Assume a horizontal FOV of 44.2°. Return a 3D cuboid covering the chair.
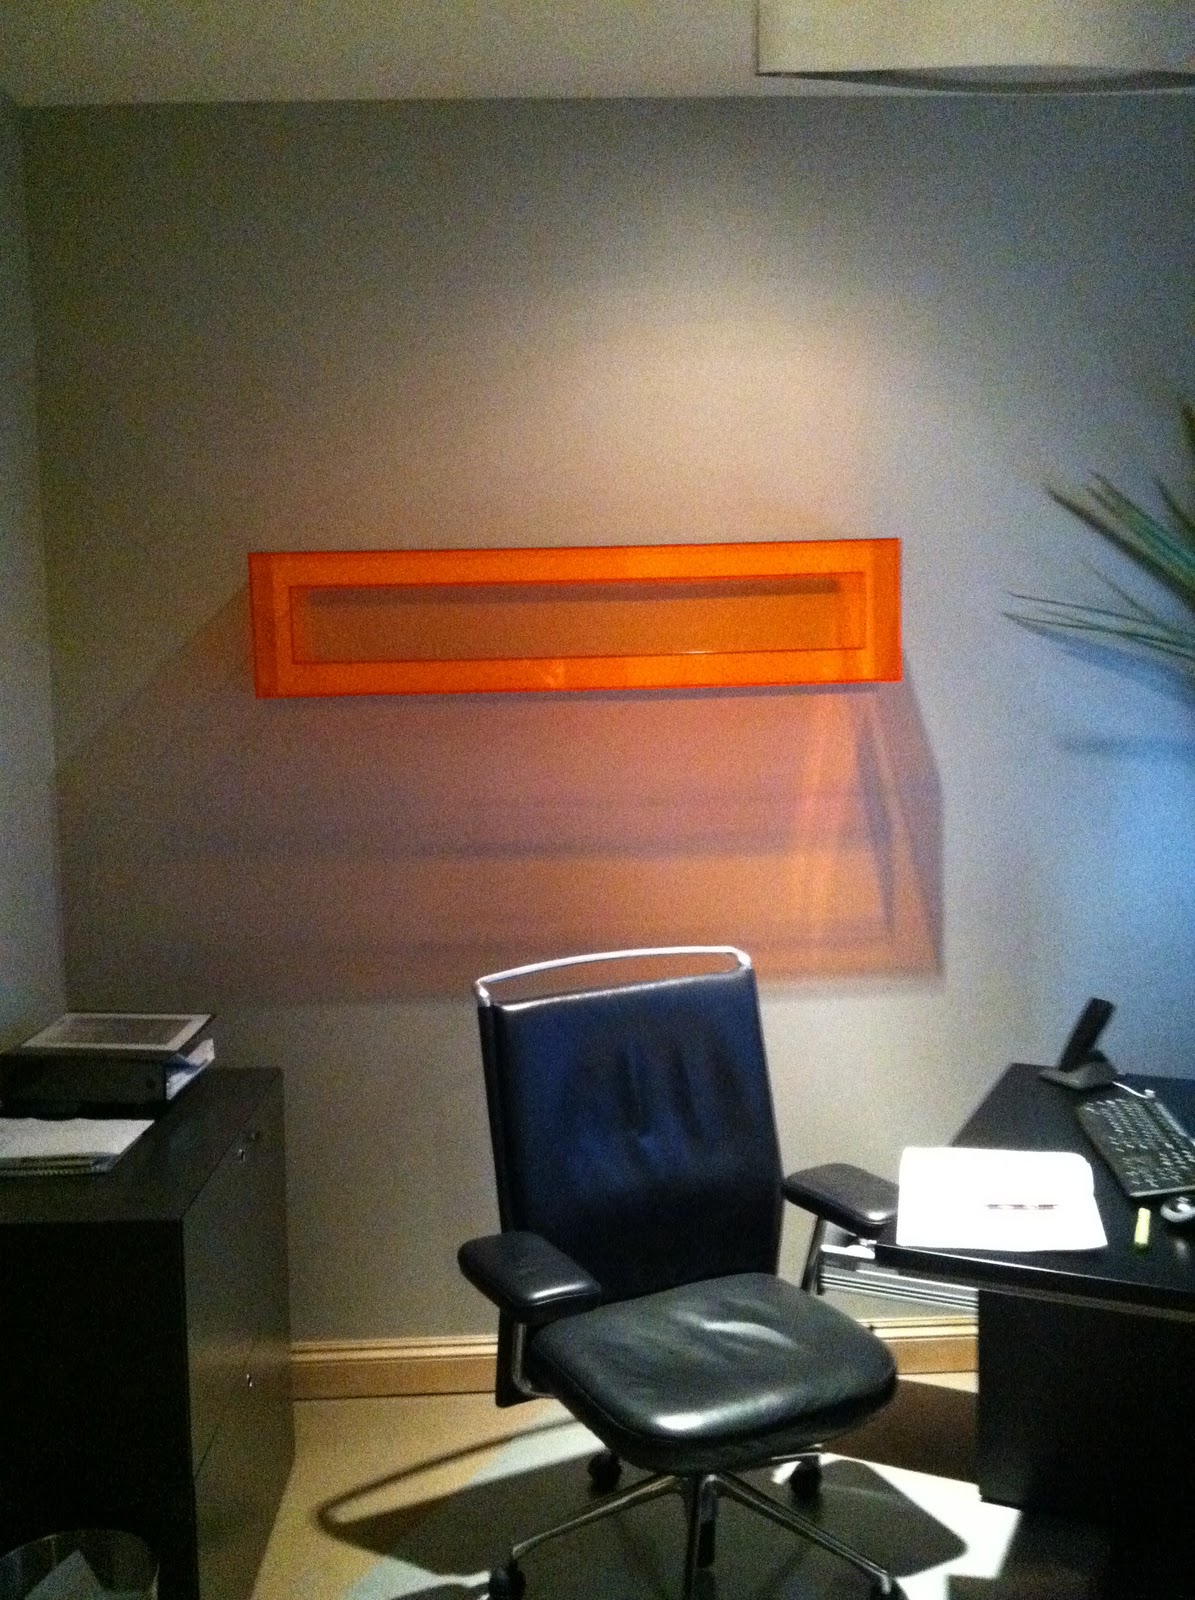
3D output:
[{"bbox_3d":[0.083,0.743,2.301,0.622,0.981,0.875,-3,7,-12],"label":"chair"}]
